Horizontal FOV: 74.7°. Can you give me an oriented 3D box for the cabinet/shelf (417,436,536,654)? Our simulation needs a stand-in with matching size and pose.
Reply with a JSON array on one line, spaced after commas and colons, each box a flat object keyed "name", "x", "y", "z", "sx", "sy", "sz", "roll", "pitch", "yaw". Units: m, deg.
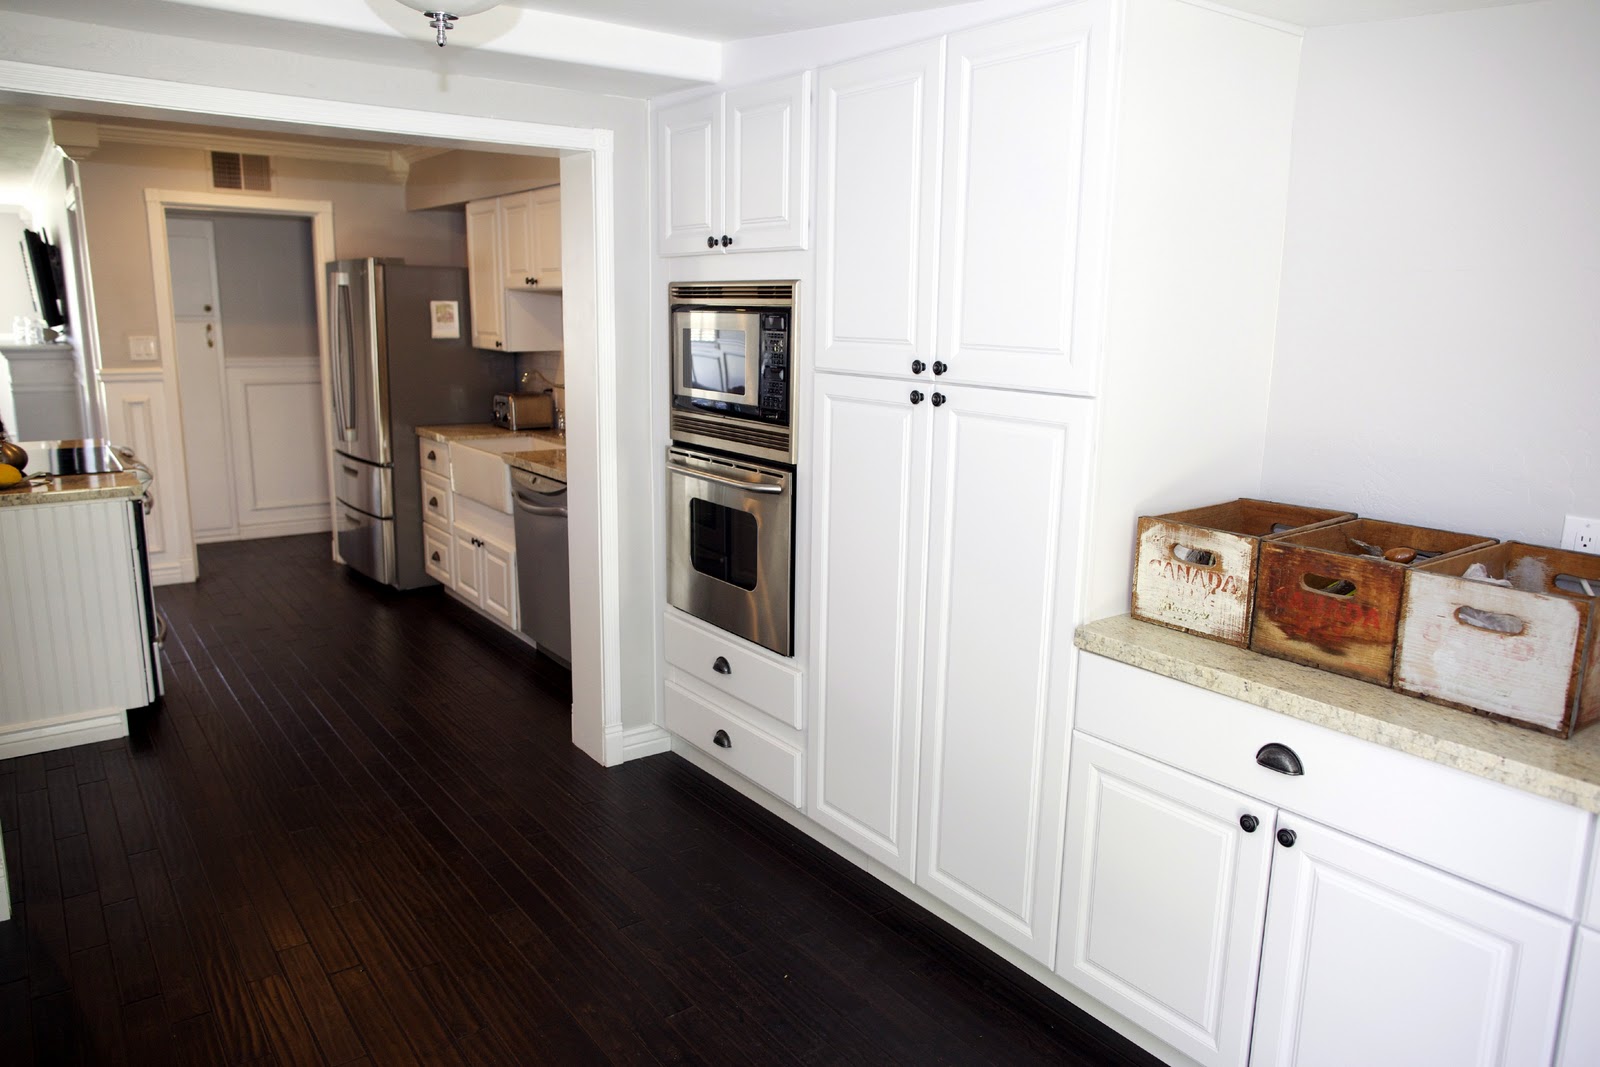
[{"name": "cabinet/shelf", "x": -1.874, "y": 0.065, "z": 6.153, "sx": 0.594, "sy": 0.754, "sz": 1.138, "roll": -4, "pitch": 15, "yaw": -42}]

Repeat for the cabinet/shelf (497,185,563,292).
[{"name": "cabinet/shelf", "x": -1.427, "y": -1.662, "z": 5.959, "sx": 0.642, "sy": 0.530, "sz": 0.227, "roll": 9, "pitch": 13, "yaw": 41}]

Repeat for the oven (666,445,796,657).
[{"name": "oven", "x": -0.162, "y": 0.033, "z": 4.346, "sx": 0.761, "sy": 0.714, "sz": 0.579, "roll": 13, "pitch": 18, "yaw": 38}]

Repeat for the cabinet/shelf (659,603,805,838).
[{"name": "cabinet/shelf", "x": -0.157, "y": 0.690, "z": 4.494, "sx": 0.463, "sy": 0.709, "sz": 0.864, "roll": -15, "pitch": 25, "yaw": -41}]

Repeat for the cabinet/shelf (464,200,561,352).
[{"name": "cabinet/shelf", "x": -1.611, "y": -1.535, "z": 6.350, "sx": 1.090, "sy": 0.938, "sz": 0.398, "roll": 12, "pitch": 15, "yaw": 40}]

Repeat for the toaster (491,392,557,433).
[{"name": "toaster", "x": -1.793, "y": -0.812, "z": 6.854, "sx": 0.331, "sy": 0.233, "sz": 0.412, "roll": -7, "pitch": 14, "yaw": -29}]
